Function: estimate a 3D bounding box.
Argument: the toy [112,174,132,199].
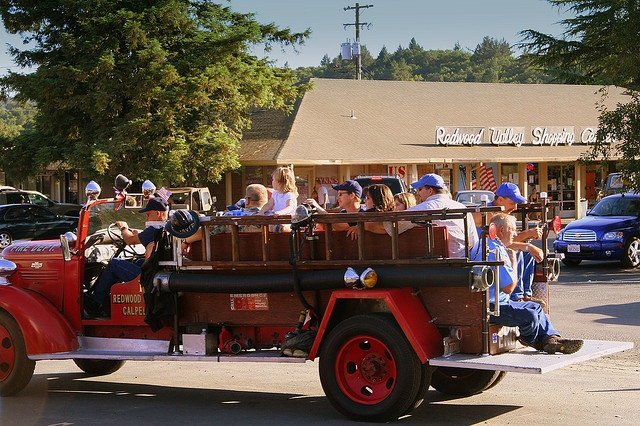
[{"bbox_3d":[-4.318,-0.584,25.349,0.498,0.436,0.612,7,6,-18],"label":"toy"}]

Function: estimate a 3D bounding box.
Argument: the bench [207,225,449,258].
[{"bbox_3d":[-0.225,0.584,23.991,4.379,0.516,0.555,-1,32,25],"label":"bench"}]

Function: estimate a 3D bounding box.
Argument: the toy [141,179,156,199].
[{"bbox_3d":[-3.681,-0.512,25.667,0.414,0.340,0.321,4,11,32],"label":"toy"}]

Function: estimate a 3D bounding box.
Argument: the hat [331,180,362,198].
[{"bbox_3d":[0.598,-0.520,24.871,0.560,0.241,0.330,10,0,1],"label":"hat"}]

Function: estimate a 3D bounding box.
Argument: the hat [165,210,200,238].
[{"bbox_3d":[-2.756,0.235,24.097,0.701,0.618,0.318,-3,15,-7],"label":"hat"}]

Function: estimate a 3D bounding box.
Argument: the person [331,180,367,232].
[{"bbox_3d":[0.620,-0.225,24.965,0.692,0.887,0.516,2,-6,-2],"label":"person"}]

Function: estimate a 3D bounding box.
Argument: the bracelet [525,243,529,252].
[{"bbox_3d":[4.316,0.702,24.582,0.038,0.125,0.103,3,11,21],"label":"bracelet"}]

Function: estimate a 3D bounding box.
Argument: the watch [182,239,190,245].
[{"bbox_3d":[-2.714,0.571,24.284,0.116,0.032,0.112,-7,26,-12],"label":"watch"}]

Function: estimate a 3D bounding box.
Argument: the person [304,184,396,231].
[{"bbox_3d":[0.639,-0.191,24.521,2.307,0.897,0.702,-3,6,-34],"label":"person"}]
